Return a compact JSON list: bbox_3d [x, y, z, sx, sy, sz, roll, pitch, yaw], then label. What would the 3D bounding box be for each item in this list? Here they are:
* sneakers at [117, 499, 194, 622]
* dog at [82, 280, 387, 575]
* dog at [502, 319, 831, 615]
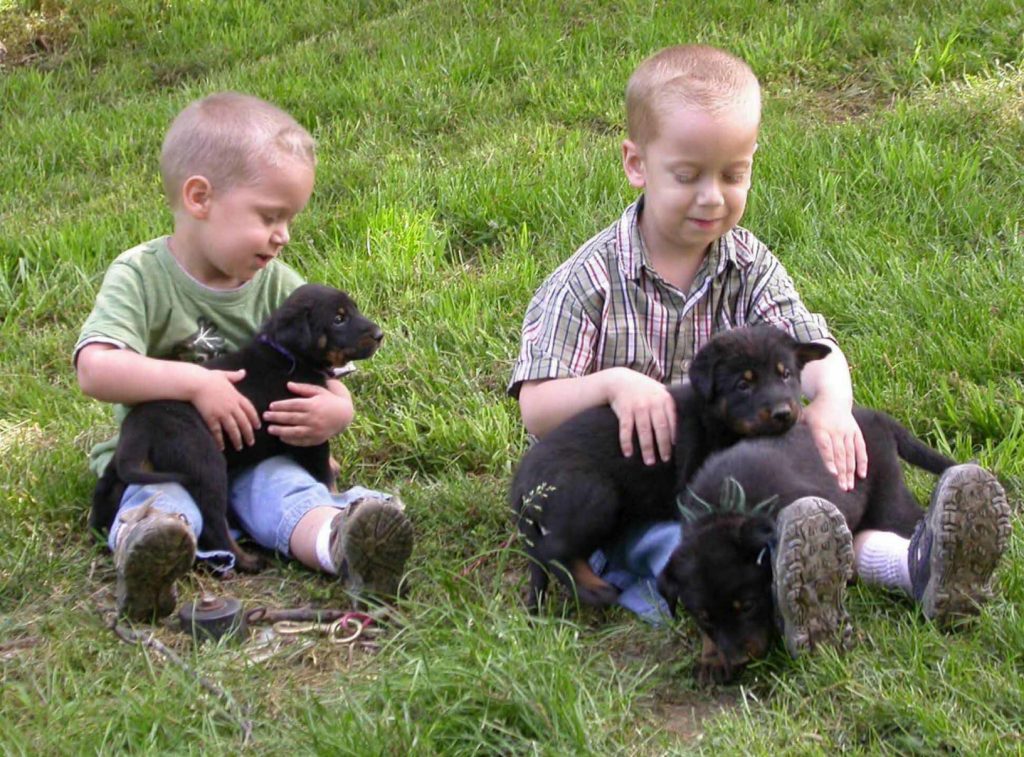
[{"bbox_3d":[-1.584,0.871,4.535,0.227,0.618,0.286,8,19,-19],"label":"sneakers"},{"bbox_3d":[-1.286,0.107,5.405,1.708,1.368,0.959,-25,44,-32],"label":"dog"},{"bbox_3d":[0.681,0.350,5.094,1.577,1.336,0.931,-15,6,11],"label":"dog"}]
